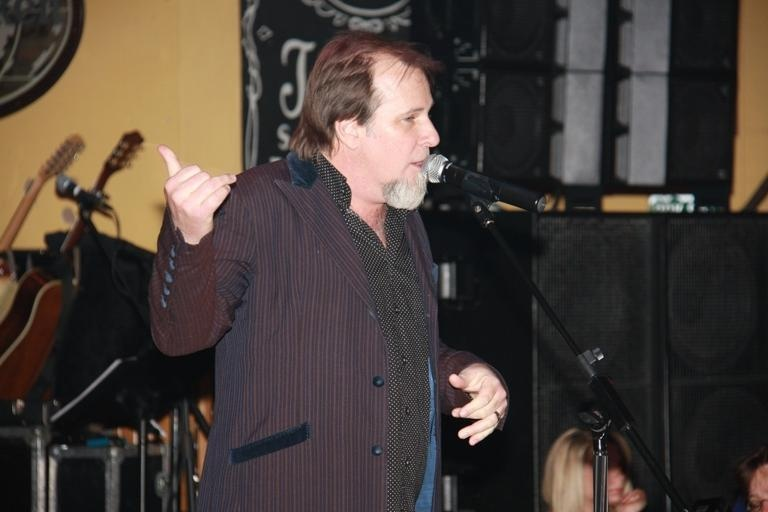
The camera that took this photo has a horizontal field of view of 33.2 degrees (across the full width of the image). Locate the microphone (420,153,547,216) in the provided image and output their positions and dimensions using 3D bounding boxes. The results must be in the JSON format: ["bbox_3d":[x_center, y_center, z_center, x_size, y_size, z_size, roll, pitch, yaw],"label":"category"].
[{"bbox_3d":[0.443,-0.400,6.522,0.240,0.271,0.901,-19,0,-10],"label":"microphone"}]
